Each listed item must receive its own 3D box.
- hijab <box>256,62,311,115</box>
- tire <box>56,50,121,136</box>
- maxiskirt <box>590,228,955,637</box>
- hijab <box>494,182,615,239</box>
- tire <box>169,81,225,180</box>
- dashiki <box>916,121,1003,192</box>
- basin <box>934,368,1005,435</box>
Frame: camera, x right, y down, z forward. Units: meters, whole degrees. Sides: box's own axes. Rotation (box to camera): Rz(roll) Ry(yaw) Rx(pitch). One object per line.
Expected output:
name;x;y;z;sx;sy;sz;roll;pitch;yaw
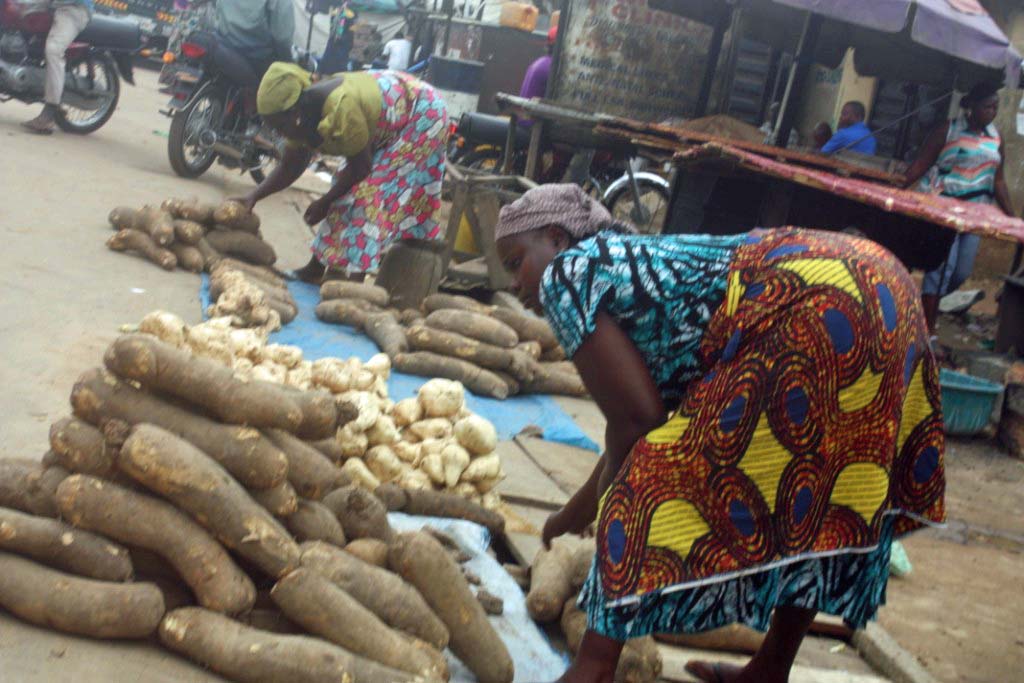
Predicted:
hijab;-2.016;-2.202;9.528;0.429;0.499;0.260;12;12;-12
tire;-5.068;-2.990;12.816;0.294;0.997;0.858;25;28;37
maxiskirt;1.265;0.371;6.367;2.043;2.282;1.705;6;11;9
hijab;0.185;-0.710;5.805;0.445;0.252;0.337;-10;12;-3
tire;-3.565;-2.387;12.216;0.437;1.116;0.788;14;12;2
dashiki;4.368;-1.796;10.503;0.495;0.617;0.360;23;4;-14
basin;4.155;0.562;9.792;0.549;0.348;0.819;3;4;4
